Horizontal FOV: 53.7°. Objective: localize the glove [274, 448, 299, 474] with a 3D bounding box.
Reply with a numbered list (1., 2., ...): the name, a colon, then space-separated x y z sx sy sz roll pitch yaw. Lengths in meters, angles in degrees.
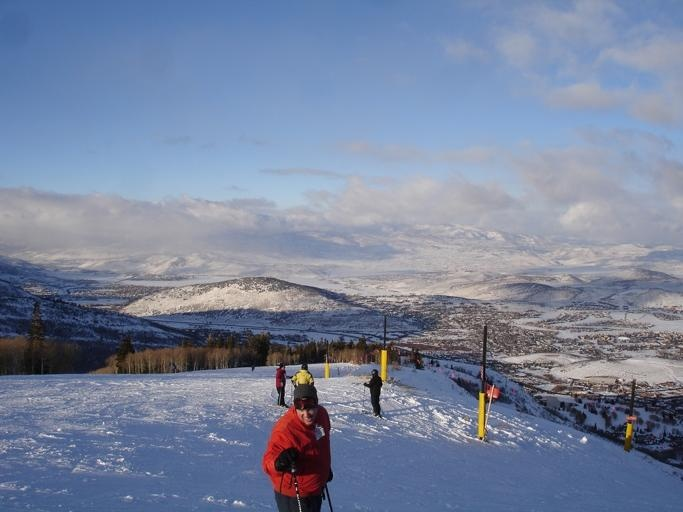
1. glove: -1.934 7.103 23.482 0.986 0.691 0.373 16 28 -17
